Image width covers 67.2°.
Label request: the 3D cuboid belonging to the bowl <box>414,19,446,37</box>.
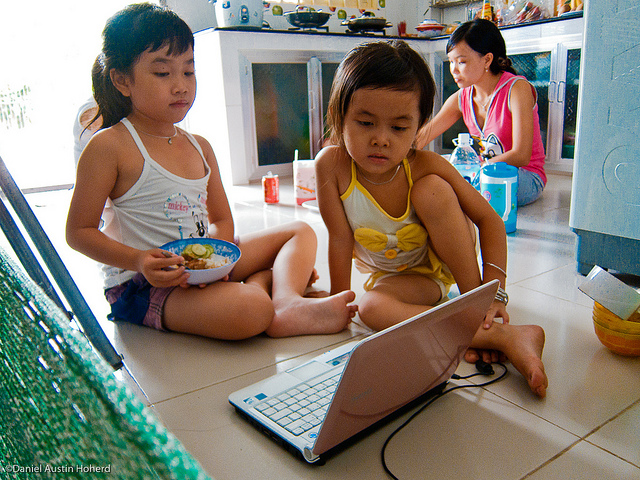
[{"bbox_3d":[0.895,-1.718,3.998,0.245,0.153,0.253,-2,23,1],"label":"bowl"}]

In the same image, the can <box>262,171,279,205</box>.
[{"bbox_3d":[-0.261,-0.279,2.546,0.088,0.167,0.088,0,18,0],"label":"can"}]

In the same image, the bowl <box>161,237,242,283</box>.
[{"bbox_3d":[-0.281,0.021,1.155,0.120,0.046,0.124,3,21,-1],"label":"bowl"}]

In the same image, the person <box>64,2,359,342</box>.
[{"bbox_3d":[-0.246,-0.240,1.436,0.884,0.963,0.642,4,17,7],"label":"person"}]

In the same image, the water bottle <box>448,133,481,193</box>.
[{"bbox_3d":[0.640,-0.334,2.146,0.164,0.276,0.157,-5,12,1],"label":"water bottle"}]

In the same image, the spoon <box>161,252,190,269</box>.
[{"bbox_3d":[-0.321,0.047,1.067,0.005,0.051,0.008,-49,28,-10],"label":"spoon"}]

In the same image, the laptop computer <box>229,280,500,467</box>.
[{"bbox_3d":[0.073,0.194,0.867,0.398,0.260,0.337,-16,19,-35],"label":"laptop computer"}]

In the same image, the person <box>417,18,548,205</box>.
[{"bbox_3d":[0.691,-0.593,2.354,0.650,0.865,0.624,4,27,35],"label":"person"}]

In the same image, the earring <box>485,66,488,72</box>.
[{"bbox_3d":[0.758,-0.782,2.203,0.011,0.024,0.036,1,17,19],"label":"earring"}]

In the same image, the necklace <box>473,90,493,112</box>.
[{"bbox_3d":[0.796,-0.668,2.342,0.029,0.089,0.133,-6,16,-5],"label":"necklace"}]

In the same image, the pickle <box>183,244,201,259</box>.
[{"bbox_3d":[-0.306,0.030,1.140,0.032,0.026,0.046,-14,18,-31],"label":"pickle"}]
